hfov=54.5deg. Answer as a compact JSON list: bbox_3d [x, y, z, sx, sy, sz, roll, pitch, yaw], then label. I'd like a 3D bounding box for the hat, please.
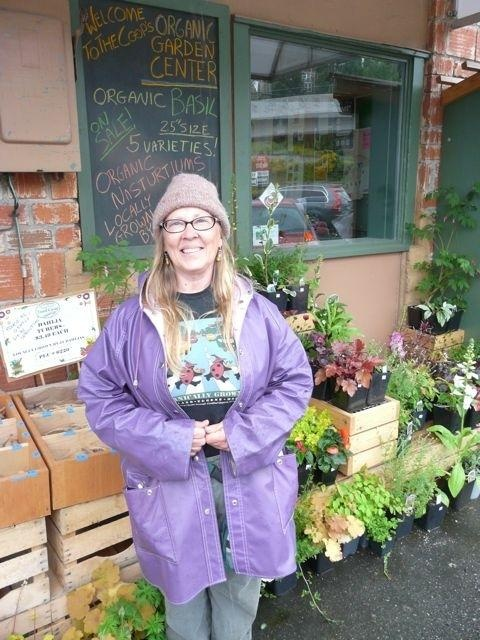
[{"bbox_3d":[-0.157,-0.346,1.396,0.191,0.145,0.194,2,-31,-8],"label":"hat"}]

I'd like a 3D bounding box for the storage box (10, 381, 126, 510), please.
[{"bbox_3d":[-0.730,0.497,1.953,0.408,0.174,0.582,-8,22,-27],"label":"storage box"}]
